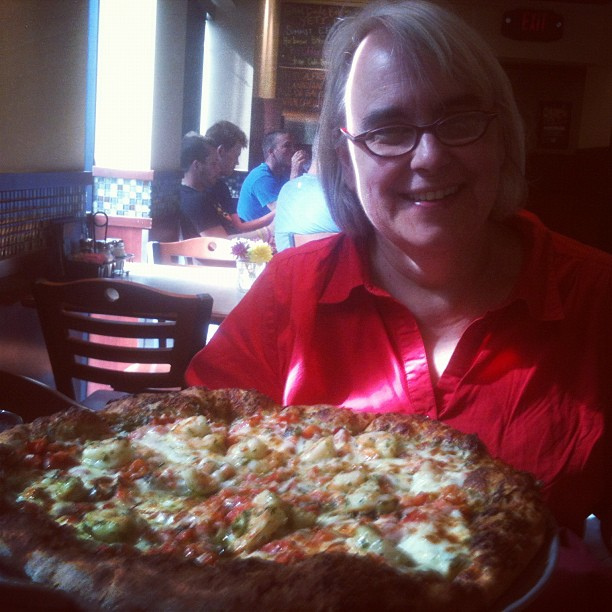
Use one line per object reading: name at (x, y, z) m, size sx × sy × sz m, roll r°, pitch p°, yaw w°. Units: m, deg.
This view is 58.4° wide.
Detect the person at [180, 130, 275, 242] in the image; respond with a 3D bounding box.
person at (-0.498, -0.683, 3.414) m, size 0.707 × 0.705 × 0.525 m, roll -12°, pitch 27°, yaw -23°

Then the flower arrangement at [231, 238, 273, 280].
flower arrangement at (-0.184, -0.174, 2.033) m, size 0.164 × 0.147 × 0.156 m, roll 1°, pitch 4°, yaw 0°

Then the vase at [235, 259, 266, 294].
vase at (-0.209, -0.099, 1.935) m, size 0.142 × 0.142 × 0.141 m, roll 1°, pitch 2°, yaw 2°
